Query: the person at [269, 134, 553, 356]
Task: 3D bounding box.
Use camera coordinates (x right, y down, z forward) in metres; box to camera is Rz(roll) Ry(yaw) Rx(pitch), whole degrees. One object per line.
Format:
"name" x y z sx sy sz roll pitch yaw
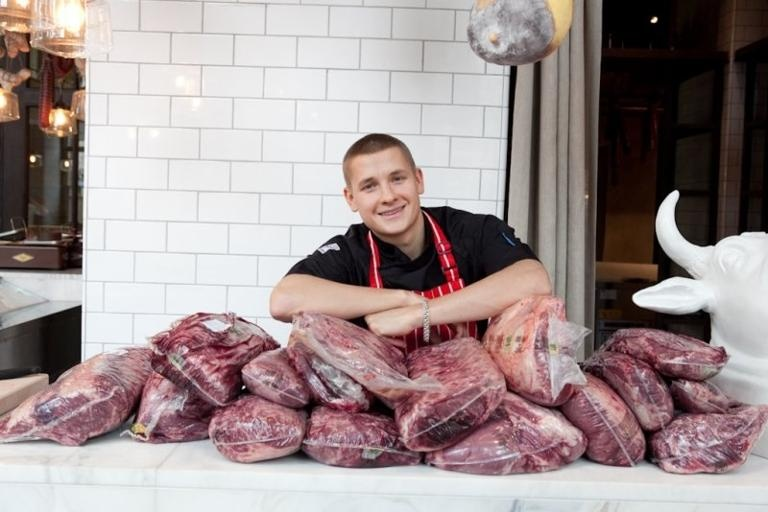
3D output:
"person" 0.065 -0.079 2.430 0.969 0.734 0.551 -2 3 -10

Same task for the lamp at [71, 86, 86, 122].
"lamp" -1.944 -0.967 4.224 0.074 0.198 0.359 -4 4 -27

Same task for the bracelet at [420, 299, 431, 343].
"bracelet" 0.142 0.220 2.203 0.029 0.138 0.054 -2 3 2
